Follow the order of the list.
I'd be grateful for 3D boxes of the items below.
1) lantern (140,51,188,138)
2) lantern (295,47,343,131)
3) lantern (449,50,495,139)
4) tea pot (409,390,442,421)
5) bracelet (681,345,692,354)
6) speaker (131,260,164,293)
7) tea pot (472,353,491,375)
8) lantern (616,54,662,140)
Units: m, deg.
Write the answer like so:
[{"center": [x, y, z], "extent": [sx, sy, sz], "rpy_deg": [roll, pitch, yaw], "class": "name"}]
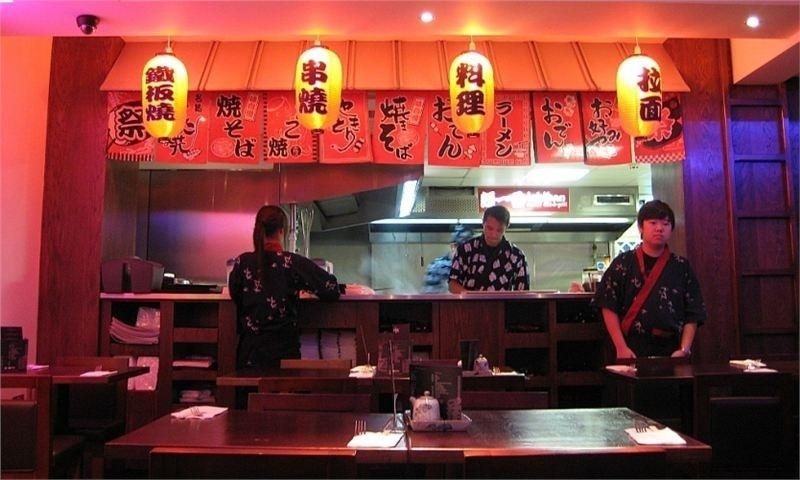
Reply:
[{"center": [-2.585, -1.608, 7.389], "extent": [0.450, 0.919, 0.230], "rpy_deg": [0, -7, -11], "class": "lantern"}, {"center": [-0.880, -1.649, 7.283], "extent": [0.478, 0.936, 0.252], "rpy_deg": [-1, -7, -6], "class": "lantern"}, {"center": [0.775, -1.617, 7.315], "extent": [0.449, 0.906, 0.189], "rpy_deg": [-1, -7, -4], "class": "lantern"}, {"center": [0.201, 1.353, 5.468], "extent": [0.192, 0.249, 0.251], "rpy_deg": [5, -11, -25], "class": "tea pot"}, {"center": [2.985, 1.140, 7.054], "extent": [0.095, 0.059, 0.125], "rpy_deg": [0, -7, 5], "class": "bracelet"}, {"center": [-2.972, 0.398, 8.049], "extent": [0.339, 0.533, 0.585], "rpy_deg": [0, -4, -6], "class": "speaker"}, {"center": [0.834, 1.212, 6.548], "extent": [0.189, 0.241, 0.182], "rpy_deg": [1, -11, 0], "class": "tea pot"}, {"center": [2.595, -1.596, 7.327], "extent": [0.469, 0.961, 0.262], "rpy_deg": [-3, -7, 7], "class": "lantern"}]
